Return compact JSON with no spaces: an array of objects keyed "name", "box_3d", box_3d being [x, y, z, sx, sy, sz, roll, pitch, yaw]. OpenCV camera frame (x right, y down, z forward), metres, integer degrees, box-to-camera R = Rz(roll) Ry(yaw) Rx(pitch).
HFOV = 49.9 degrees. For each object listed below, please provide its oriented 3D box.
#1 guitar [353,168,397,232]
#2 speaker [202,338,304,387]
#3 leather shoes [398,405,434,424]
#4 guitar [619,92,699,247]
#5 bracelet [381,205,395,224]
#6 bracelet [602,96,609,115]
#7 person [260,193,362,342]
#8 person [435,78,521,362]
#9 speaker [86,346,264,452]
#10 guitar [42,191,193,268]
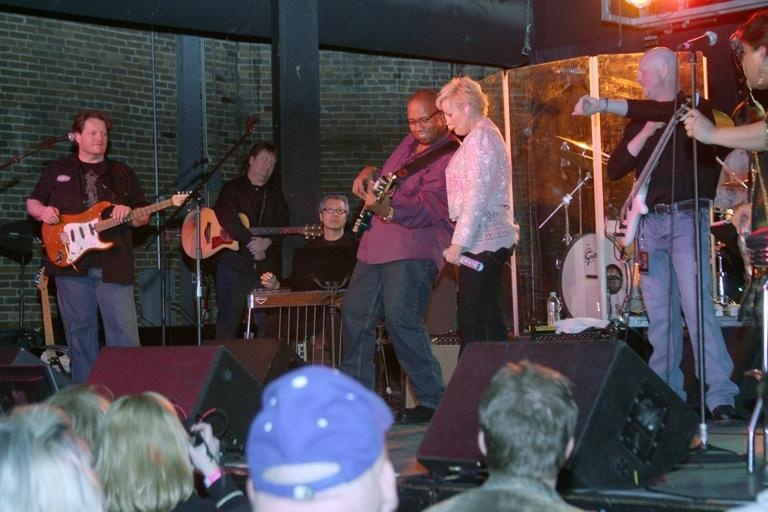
[{"name":"guitar","box_3d":[-0.095,-0.302,5.507,0.173,0.554,0.149,38,27,19]},{"name":"speaker","box_3d":[-0.786,0.641,5.256,0.357,0.203,0.379,-6,-10,29]},{"name":"leather shoes","box_3d":[0.222,1.043,5.426,0.258,0.118,0.091,2,-1,-2]},{"name":"guitar","box_3d":[1.782,-0.543,5.286,0.160,0.373,1.024,15,-38,4]},{"name":"bracelet","box_3d":[0.023,-0.258,5.309,0.066,0.089,0.051,0,8,14]},{"name":"bracelet","box_3d":[1.417,-0.975,5.276,0.031,0.086,0.069,-5,-1,6]},{"name":"person","box_3d":[-0.553,0.049,7.419,1.405,1.107,1.029,-3,6,7]},{"name":"person","box_3d":[0.605,-0.309,5.279,0.502,1.729,0.360,-1,-1,4]},{"name":"speaker","box_3d":[-1.129,0.721,4.730,0.744,0.470,0.785,-6,-17,28]},{"name":"guitar","box_3d":[-2.329,-0.247,7.186,0.785,0.319,0.132,-20,-8,-12]}]
